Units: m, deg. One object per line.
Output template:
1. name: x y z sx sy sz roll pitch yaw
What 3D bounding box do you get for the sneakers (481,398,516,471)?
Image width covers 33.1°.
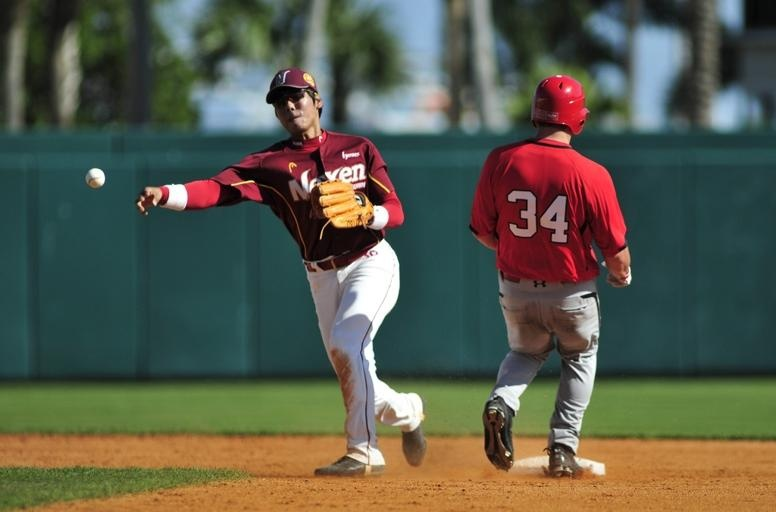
1. sneakers: 0.981 1.512 11.281 0.217 0.652 0.269 1 24 24

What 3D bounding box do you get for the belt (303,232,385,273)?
1. belt: -0.378 -0.023 11.440 0.488 0.165 0.360 -20 34 -23

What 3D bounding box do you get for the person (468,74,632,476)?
1. person: 1.392 0.202 11.363 1.290 3.447 0.841 0 11 1

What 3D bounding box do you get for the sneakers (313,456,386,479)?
1. sneakers: -0.348 1.880 11.361 0.536 0.192 0.219 5 -15 -11

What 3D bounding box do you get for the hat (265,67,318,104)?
1. hat: -0.838 -1.491 11.415 0.447 0.307 0.209 -1 11 -6
